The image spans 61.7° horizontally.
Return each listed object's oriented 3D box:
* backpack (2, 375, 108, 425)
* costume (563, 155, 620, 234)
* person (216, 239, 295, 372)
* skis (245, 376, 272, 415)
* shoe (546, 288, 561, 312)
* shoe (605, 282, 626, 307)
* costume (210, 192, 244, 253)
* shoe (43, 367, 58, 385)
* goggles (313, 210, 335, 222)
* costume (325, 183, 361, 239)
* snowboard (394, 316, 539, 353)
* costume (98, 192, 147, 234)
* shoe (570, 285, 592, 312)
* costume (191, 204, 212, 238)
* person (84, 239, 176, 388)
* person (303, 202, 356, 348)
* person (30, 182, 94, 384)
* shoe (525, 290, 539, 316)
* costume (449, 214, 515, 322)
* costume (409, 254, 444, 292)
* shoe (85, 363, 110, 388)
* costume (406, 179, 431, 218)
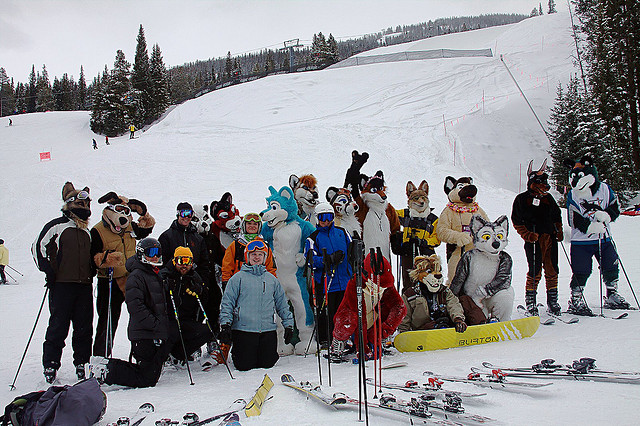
[{"bbox_3d":[-3.768,2.621,7.814,0.956,0.440,0.744,-1,-4,5],"label":"backpack"},{"bbox_3d":[5.513,-0.446,10.848,0.752,1.783,0.883,3,1,0],"label":"costume"},{"bbox_3d":[-1.138,1.571,9.375,1.259,2.119,0.869,-7,11,-12],"label":"person"},{"bbox_3d":[-0.900,2.729,7.923,0.194,0.702,0.113,32,19,10],"label":"skis"},{"bbox_3d":[4.632,1.689,10.591,0.233,0.449,0.213,1,12,26],"label":"shoe"},{"bbox_3d":[5.841,1.589,10.603,0.349,0.464,0.253,5,14,40],"label":"shoe"},{"bbox_3d":[-1.898,0.172,10.941,0.623,1.048,1.172,-8,12,-19],"label":"costume"},{"bbox_3d":[-4.534,2.748,9.105,0.188,0.240,0.255,21,-13,-38],"label":"shoe"},{"bbox_3d":[0.091,0.050,9.851,0.312,0.187,0.146,-2,11,11],"label":"goggles"},{"bbox_3d":[0.478,-0.023,10.575,0.651,0.934,0.914,-4,11,1],"label":"costume"},{"bbox_3d":[2.574,2.117,9.297,2.937,0.459,0.306,-8,1,-13],"label":"snowboard"},{"bbox_3d":[-3.771,-0.035,10.030,0.596,0.969,0.786,1,-1,-4],"label":"costume"},{"bbox_3d":[5.172,1.681,10.541,0.372,0.474,0.421,-1,11,15],"label":"shoe"},{"bbox_3d":[-2.455,0.189,10.980,0.462,0.580,0.239,-12,-17,-44],"label":"costume"},{"bbox_3d":[-3.035,1.670,8.839,1.232,2.338,0.646,-10,13,-29],"label":"person"},{"bbox_3d":[0.188,1.126,9.695,0.887,2.511,1.535,-4,11,-2],"label":"person"},{"bbox_3d":[-4.441,1.144,9.405,0.932,3.234,1.231,-7,11,-13],"label":"person"},{"bbox_3d":[4.182,1.726,10.546,0.210,0.385,0.498,0,12,22],"label":"shoe"},{"bbox_3d":[2.980,1.011,10.105,0.915,2.096,1.009,2,1,0],"label":"costume"},{"bbox_3d":[1.920,1.033,9.693,0.706,0.701,0.533,1,-11,-24],"label":"costume"},{"bbox_3d":[-3.540,2.590,8.573,0.388,0.387,0.210,0,-4,9],"label":"shoe"},{"bbox_3d":[2.093,-0.306,11.288,0.474,0.711,0.574,-2,11,9],"label":"costume"}]
